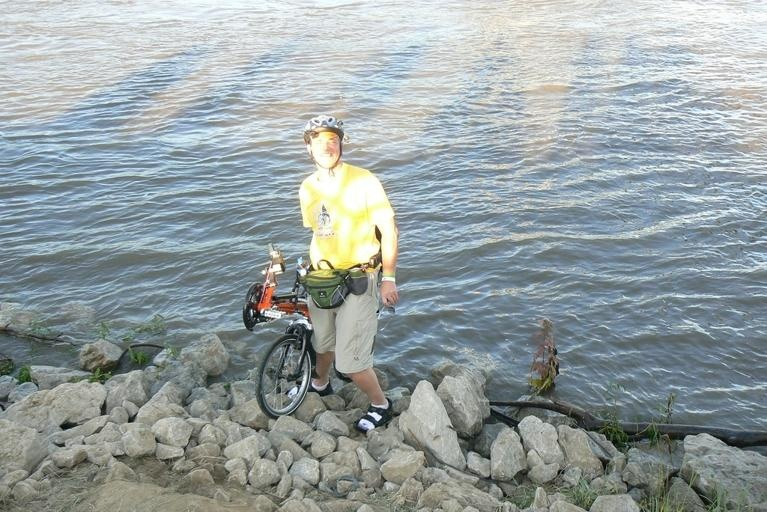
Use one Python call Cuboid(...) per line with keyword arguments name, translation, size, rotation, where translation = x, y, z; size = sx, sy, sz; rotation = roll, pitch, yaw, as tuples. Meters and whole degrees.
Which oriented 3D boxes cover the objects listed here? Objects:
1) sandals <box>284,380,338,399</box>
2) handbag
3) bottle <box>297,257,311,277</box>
Cuboid(name="sandals", translation=(-0.977, 1.893, 8.858), size=(0.633, 0.244, 0.208), rotation=(19, -5, -20))
Cuboid(name="handbag", translation=(-0.519, 0.301, 8.478), size=(0.799, 0.510, 1.059), rotation=(-7, 11, 25))
Cuboid(name="bottle", translation=(-1.044, 0.134, 8.491), size=(0.160, 0.165, 0.446), rotation=(-3, 5, -12))
